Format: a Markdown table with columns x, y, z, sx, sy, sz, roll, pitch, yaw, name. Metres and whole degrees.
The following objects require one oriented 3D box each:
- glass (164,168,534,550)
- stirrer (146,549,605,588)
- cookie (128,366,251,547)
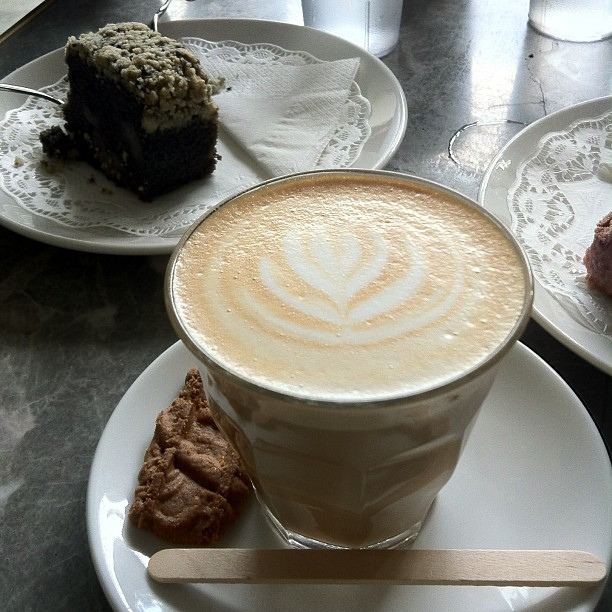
| x | y | z | sx | sy | sz | roll | pitch | yaw | name |
| --- | --- | --- | --- | --- | --- | --- | --- | --- | --- |
| 0.006 | 0.045 | 0.729 | 0.391 | 0.312 | 0.370 | 26 | 48 | 27 | glass |
| 0.055 | 0.222 | 0.572 | 0.382 | 0.034 | 0.032 | 0 | 55 | 3 | stirrer |
| -0.106 | 0.137 | 0.615 | 0.112 | 0.034 | 0.160 | 11 | 50 | 2 | cookie |
